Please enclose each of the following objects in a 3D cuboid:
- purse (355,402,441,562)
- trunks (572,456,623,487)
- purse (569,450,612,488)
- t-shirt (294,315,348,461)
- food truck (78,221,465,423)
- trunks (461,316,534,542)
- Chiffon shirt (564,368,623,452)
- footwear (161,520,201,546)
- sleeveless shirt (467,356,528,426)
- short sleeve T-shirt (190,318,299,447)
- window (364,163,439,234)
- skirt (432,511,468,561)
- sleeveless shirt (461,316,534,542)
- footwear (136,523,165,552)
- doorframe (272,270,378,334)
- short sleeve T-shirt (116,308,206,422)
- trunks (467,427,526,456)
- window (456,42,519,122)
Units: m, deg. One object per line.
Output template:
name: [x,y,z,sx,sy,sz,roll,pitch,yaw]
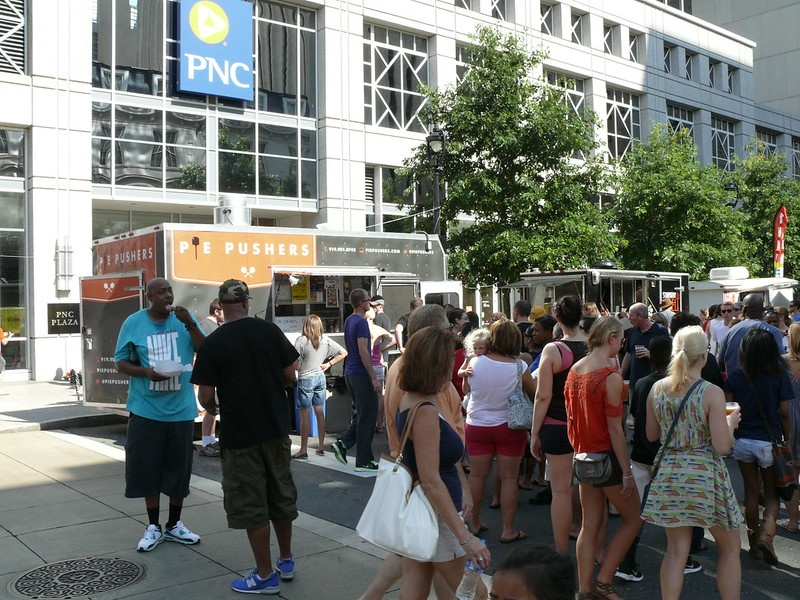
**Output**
purse: [-0.029,1.434,7.061,0.231,1.221,0.733,5,-24,39]
trunks: [1.842,1.583,8.047,0.424,0.443,0.264,-8,-16,30]
purse: [1.791,1.595,8.089,0.366,0.370,0.279,-9,-21,35]
t-shirt: [-1.180,1.237,12.288,0.741,2.011,0.599,0,-6,-14]
food truck: [-1.941,-0.150,15.911,5.464,2.927,2.823,0,14,-32]
trunks: [1.012,1.381,9.357,0.755,2.362,0.649,2,5,15]
Chiffon shirt: [1.848,1.016,8.248,0.437,0.879,0.717,-1,3,-40]
footwear: [-2.308,2.461,9.105,0.391,0.194,0.184,4,-4,16]
sleeveless shirt: [1.048,0.982,9.105,0.584,0.612,0.322,3,-16,14]
short sleeve T-shirt: [-1.465,0.786,8.230,0.981,1.189,0.382,-1,7,-9]
window: [-0.114,-2.881,27.724,1.757,2.901,1.760,3,-9,-12]
skirt: [0.466,1.850,7.039,0.197,0.289,0.348,-5,9,43]
sleeveless shirt: [1.031,1.370,9.404,0.772,2.414,0.688,2,9,13]
footwear: [-2.610,2.467,8.931,0.134,0.161,0.332,-3,-6,8]
doorframe: [-1.291,0.026,14.662,1.721,1.171,0.954,-1,-3,-17]
short sleeve T-shirt: [-2.522,0.658,9.060,0.891,1.191,0.586,-3,8,-25]
trunks: [0.999,1.493,9.085,0.505,0.491,0.330,2,0,13]
window: [2.272,-5.522,21.764,1.491,2.067,1.333,2,7,13]
